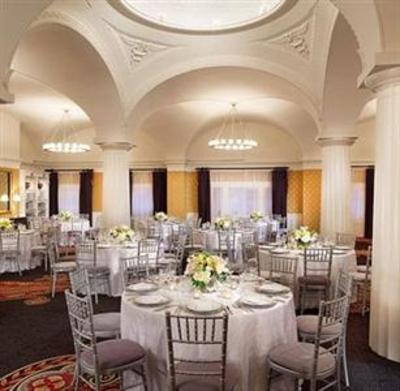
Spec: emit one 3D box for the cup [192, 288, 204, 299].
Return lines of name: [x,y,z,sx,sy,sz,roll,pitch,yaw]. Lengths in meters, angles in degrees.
cup: [-0.020,0.953,3.158,0.078,0.116,0.077,1,3,0]

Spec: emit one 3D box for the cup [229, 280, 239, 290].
cup: [0.365,0.951,3.444,0.076,0.096,0.082,-1,0,0]

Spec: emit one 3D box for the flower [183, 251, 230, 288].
flower: [0.065,0.706,3.236,0.366,0.331,0.381,-3,9,-28]

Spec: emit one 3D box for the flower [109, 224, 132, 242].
flower: [-1.634,0.806,6.780,0.511,0.303,0.740,0,-1,-16]

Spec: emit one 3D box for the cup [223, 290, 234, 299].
cup: [0.277,0.960,3.122,0.091,0.074,0.062,-2,-2,14]

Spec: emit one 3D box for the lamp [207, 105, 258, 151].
lamp: [1.214,-2.569,12.545,1.750,2.188,1.892,0,-3,2]
